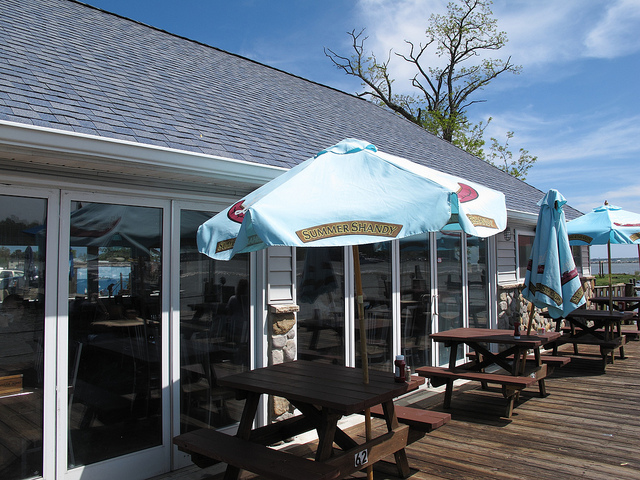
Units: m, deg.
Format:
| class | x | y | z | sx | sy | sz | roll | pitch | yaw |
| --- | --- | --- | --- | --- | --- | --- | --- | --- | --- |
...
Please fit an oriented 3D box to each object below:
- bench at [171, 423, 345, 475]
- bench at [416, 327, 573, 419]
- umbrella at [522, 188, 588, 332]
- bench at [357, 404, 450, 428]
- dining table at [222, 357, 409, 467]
| class | x | y | z | sx | sy | sz | roll | pitch | yaw |
| --- | --- | --- | --- | --- | --- | --- | --- | --- | --- |
| bench | -0.632 | 2.160 | 4.889 | 1.705 | 0.233 | 0.499 | -1 | 0 | 29 |
| bench | 2.938 | 1.971 | 7.993 | 1.846 | 0.806 | 2.172 | -5 | -9 | 36 |
| umbrella | 3.615 | 0.237 | 7.719 | 0.820 | 2.062 | 0.706 | -2 | 0 | 28 |
| bench | 1.022 | 2.025 | 5.669 | 0.807 | 0.116 | 0.487 | -1 | 0 | 31 |
| dining table | -0.119 | 1.850 | 5.146 | 1.652 | 0.618 | 1.267 | -3 | -1 | 38 |
